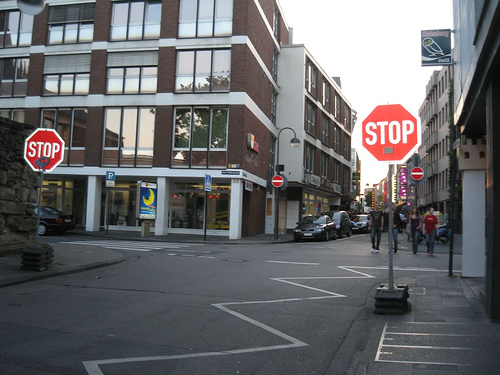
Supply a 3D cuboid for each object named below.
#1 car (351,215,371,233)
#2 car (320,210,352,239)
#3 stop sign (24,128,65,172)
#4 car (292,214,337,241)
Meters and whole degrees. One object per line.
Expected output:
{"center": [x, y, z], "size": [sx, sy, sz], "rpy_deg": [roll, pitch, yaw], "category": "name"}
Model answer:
{"center": [9.791, 3.159, 38.674], "size": [1.178, 0.978, 2.040], "rpy_deg": [-4, -9, 25], "category": "car"}
{"center": [6.291, 2.589, 31.418], "size": [1.441, 1.278, 2.547], "rpy_deg": [-3, -9, 21], "category": "car"}
{"center": [-5.425, -1.010, 11.488], "size": [1.430, 1.298, 0.587], "rpy_deg": [-5, -8, 41], "category": "stop sign"}
{"center": [3.896, 2.404, 26.586], "size": [1.608, 1.573, 2.786], "rpy_deg": [-2, -7, 28], "category": "car"}
